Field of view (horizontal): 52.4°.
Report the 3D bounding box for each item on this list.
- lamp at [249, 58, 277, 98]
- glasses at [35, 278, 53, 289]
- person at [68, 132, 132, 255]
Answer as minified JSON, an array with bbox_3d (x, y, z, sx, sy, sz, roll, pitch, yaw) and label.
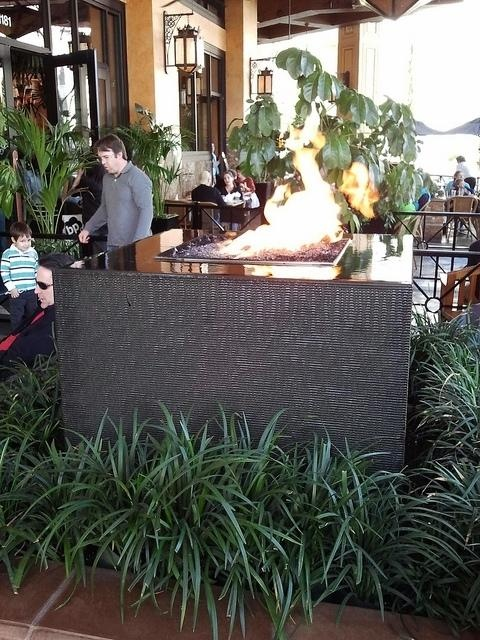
[{"bbox_3d":[0.503,-5.623,11.251,0.586,1.001,1.307,0,15,1],"label":"lamp"},{"bbox_3d":[-0.863,-0.159,2.145,0.088,0.029,0.091,18,11,17],"label":"glasses"},{"bbox_3d":[-1.067,-0.979,3.743,0.378,0.836,0.659,-5,16,-18],"label":"person"}]
